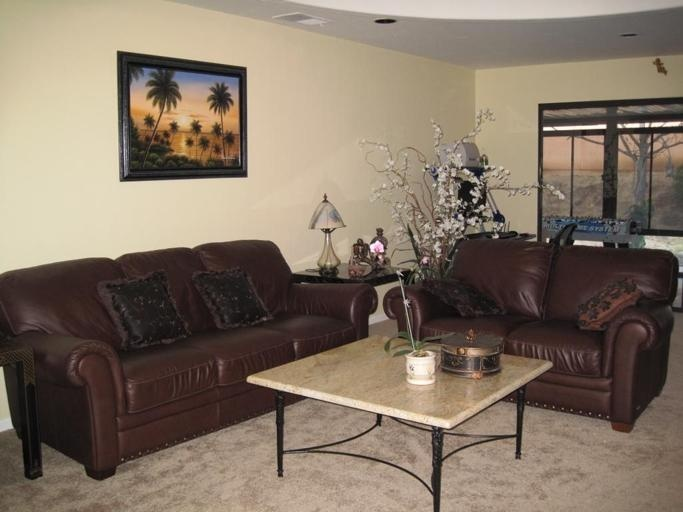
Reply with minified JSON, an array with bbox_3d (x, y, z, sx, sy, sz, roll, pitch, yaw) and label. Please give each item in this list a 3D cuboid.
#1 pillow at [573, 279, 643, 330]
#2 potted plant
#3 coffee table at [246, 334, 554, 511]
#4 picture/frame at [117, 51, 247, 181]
[{"bbox_3d":[1.914,0.350,3.884,0.386,0.348,0.319,1,11,19],"label":"pillow"},{"bbox_3d":[0.448,0.580,3.112,0.300,0.214,0.294,-1,-1,-18],"label":"potted plant"},{"bbox_3d":[0.353,0.944,3.212,1.267,0.600,1.179,6,12,39],"label":"coffee table"},{"bbox_3d":[-1.378,-1.181,4.507,1.247,1.023,0.063,-4,5,-44],"label":"picture/frame"}]
